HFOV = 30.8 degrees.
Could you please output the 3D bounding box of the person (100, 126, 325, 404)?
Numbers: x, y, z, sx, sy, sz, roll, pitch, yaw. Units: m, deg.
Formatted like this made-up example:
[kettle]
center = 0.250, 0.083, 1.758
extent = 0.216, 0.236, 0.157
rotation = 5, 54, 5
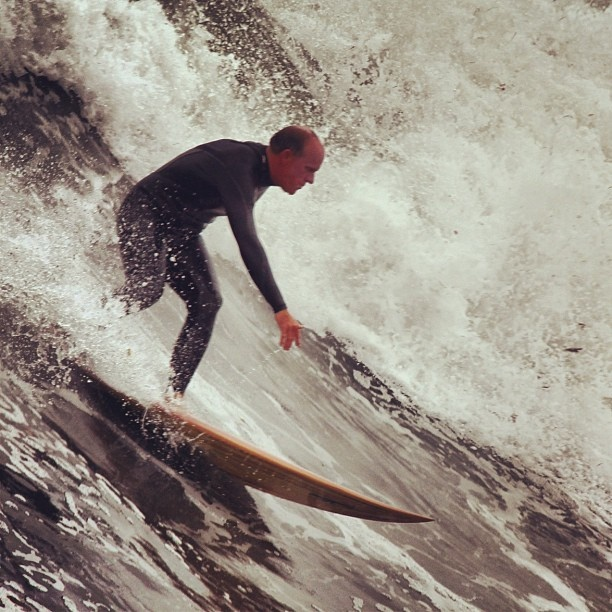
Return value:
[person]
center = -0.396, -0.212, 4.217
extent = 0.735, 1.169, 0.200
rotation = 37, 6, 19
